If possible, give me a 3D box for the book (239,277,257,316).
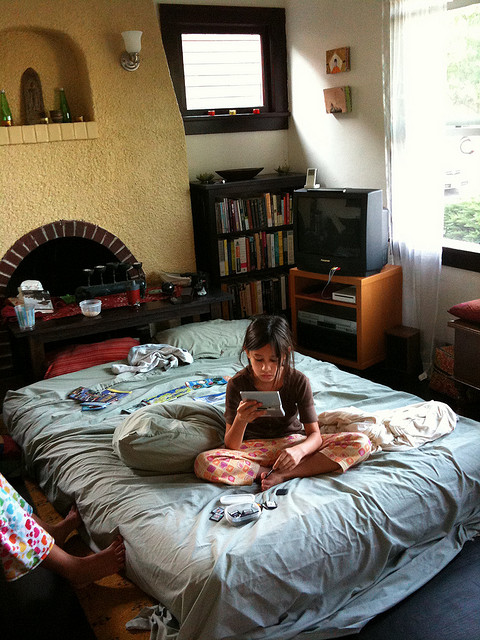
[{"bbox_3d":[0.058,-0.172,3.529,0.145,0.259,0.261,-6,15,-6],"label":"book"}]

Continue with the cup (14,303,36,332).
[{"bbox_3d":[-1.214,-0.014,2.519,0.136,0.175,0.137,-1,-1,0],"label":"cup"}]

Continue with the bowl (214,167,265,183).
[{"bbox_3d":[-0.007,-1.108,3.373,0.330,0.129,0.292,-6,12,7],"label":"bowl"}]

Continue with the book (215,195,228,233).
[{"bbox_3d":[-0.139,-0.773,3.309,0.069,0.213,0.213,-6,19,-12],"label":"book"}]

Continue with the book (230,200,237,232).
[{"bbox_3d":[-0.056,-0.793,3.347,0.055,0.167,0.172,-9,29,-6],"label":"book"}]

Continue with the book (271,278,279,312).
[{"bbox_3d":[0.293,-0.199,3.650,0.054,0.277,0.044,-13,13,-28],"label":"book"}]

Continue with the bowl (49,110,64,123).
[{"bbox_3d":[-1.175,-1.300,2.837,0.070,0.068,0.077,8,19,24],"label":"bowl"}]

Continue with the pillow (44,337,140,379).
[{"bbox_3d":[-0.886,0.211,2.634,0.323,0.081,0.238,-15,23,-29],"label":"pillow"}]

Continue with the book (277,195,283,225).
[{"bbox_3d":[0.324,-0.880,3.572,0.032,0.227,0.014,-16,15,-37],"label":"book"}]

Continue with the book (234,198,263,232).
[{"bbox_3d":[0.019,-0.887,3.524,0.228,0.316,0.312,-10,19,-14],"label":"book"}]

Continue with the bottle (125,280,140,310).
[{"bbox_3d":[-0.697,-0.160,2.892,0.088,0.171,0.143,-10,12,-12],"label":"bottle"}]

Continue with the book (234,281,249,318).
[{"bbox_3d":[0.004,-0.164,3.502,0.127,0.220,0.229,-5,13,-2],"label":"book"}]

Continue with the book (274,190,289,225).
[{"bbox_3d":[0.330,-0.889,3.572,0.114,0.215,0.215,-3,16,-9],"label":"book"}]

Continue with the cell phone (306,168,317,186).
[{"bbox_3d":[0.523,-1.057,3.296,0.071,0.135,0.145,-4,12,16],"label":"cell phone"}]

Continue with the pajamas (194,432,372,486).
[{"bbox_3d":[0.118,0.493,1.521,0.552,0.143,0.348,-1,-16,-19],"label":"pajamas"}]

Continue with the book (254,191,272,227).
[{"bbox_3d":[0.178,-0.856,3.489,0.086,0.236,0.238,-5,19,-11],"label":"book"}]

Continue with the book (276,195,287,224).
[{"bbox_3d":[0.353,-0.878,3.573,0.115,0.212,0.214,-1,7,-5],"label":"book"}]

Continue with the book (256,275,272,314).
[{"bbox_3d":[0.187,-0.193,3.593,0.126,0.235,0.237,-4,14,-5],"label":"book"}]

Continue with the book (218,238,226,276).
[{"bbox_3d":[-0.143,-0.465,3.358,0.053,0.272,0.029,-15,14,-33],"label":"book"}]

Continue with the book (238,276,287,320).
[{"bbox_3d":[0.155,-0.176,3.396,0.300,0.284,0.169,-15,14,-36],"label":"book"}]

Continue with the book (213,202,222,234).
[{"bbox_3d":[-0.174,-0.745,3.286,0.031,0.224,0.065,1,14,33],"label":"book"}]

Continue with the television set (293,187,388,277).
[{"bbox_3d":[0.728,-0.628,3.100,0.439,0.586,0.603,-18,24,-38],"label":"television set"}]

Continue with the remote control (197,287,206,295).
[{"bbox_3d":[-0.263,-0.194,3.060,0.030,0.046,0.066,2,15,36],"label":"remote control"}]

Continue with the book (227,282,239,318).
[{"bbox_3d":[-0.058,-0.150,3.427,0.114,0.212,0.214,-3,14,-1],"label":"book"}]

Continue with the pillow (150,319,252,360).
[{"bbox_3d":[-0.200,0.118,2.749,0.423,0.113,0.306,-8,17,-30],"label":"pillow"}]

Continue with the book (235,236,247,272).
[{"bbox_3d":[0.002,-0.512,3.437,0.127,0.226,0.228,-2,13,-8],"label":"book"}]

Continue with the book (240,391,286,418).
[{"bbox_3d":[0.067,0.268,1.390,0.120,0.116,0.089,-5,12,12],"label":"book"}]

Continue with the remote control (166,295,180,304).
[{"bbox_3d":[-0.450,-0.127,3.000,0.037,0.049,0.130,-12,23,-23],"label":"remote control"}]

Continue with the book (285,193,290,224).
[{"bbox_3d":[0.384,-0.897,3.600,0.051,0.239,0.020,-17,16,-41],"label":"book"}]

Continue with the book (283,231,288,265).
[{"bbox_3d":[0.371,-0.586,3.637,0.047,0.270,0.024,-12,13,-23],"label":"book"}]

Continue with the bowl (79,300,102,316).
[{"bbox_3d":[-0.930,-0.078,2.783,0.120,0.092,0.186,-9,12,-10],"label":"bowl"}]

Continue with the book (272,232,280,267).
[{"bbox_3d":[0.293,-0.569,3.601,0.052,0.268,0.022,-15,14,-35],"label":"book"}]
